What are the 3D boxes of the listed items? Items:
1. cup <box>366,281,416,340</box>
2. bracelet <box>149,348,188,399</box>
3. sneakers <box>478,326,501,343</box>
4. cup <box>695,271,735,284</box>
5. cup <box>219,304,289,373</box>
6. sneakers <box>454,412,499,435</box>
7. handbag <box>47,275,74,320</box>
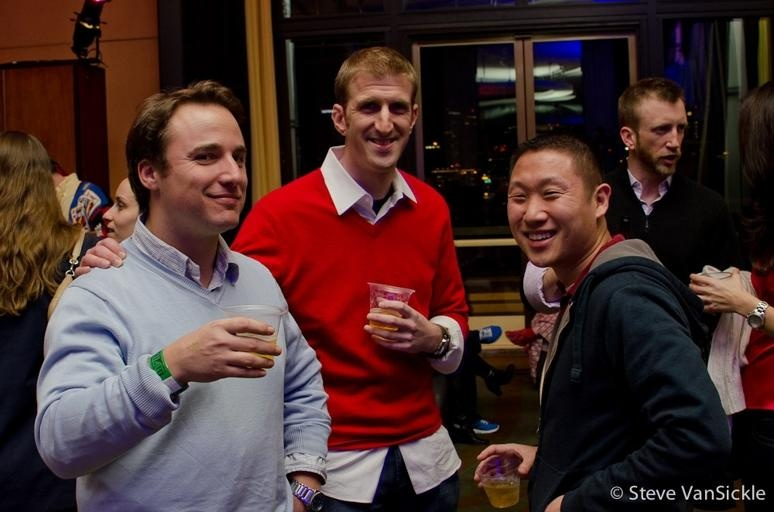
[{"bbox_3d":[-0.003,0.211,2.821,0.189,0.185,0.194,5,-5,0],"label":"cup"},{"bbox_3d":[-0.714,0.382,2.224,0.106,0.072,0.111,39,4,-39],"label":"bracelet"},{"bbox_3d":[0.730,0.561,4.916,0.094,0.084,0.247,-34,-25,28],"label":"sneakers"},{"bbox_3d":[1.522,0.088,3.180,0.101,0.061,0.101,2,4,0],"label":"cup"},{"bbox_3d":[-0.476,0.293,2.383,0.215,0.178,0.200,1,-4,0],"label":"cup"},{"bbox_3d":[0.709,1.341,5.467,0.425,0.195,0.154,-1,3,-6],"label":"sneakers"},{"bbox_3d":[-1.282,0.168,2.672,0.039,0.159,0.119,31,-27,-28],"label":"handbag"}]
